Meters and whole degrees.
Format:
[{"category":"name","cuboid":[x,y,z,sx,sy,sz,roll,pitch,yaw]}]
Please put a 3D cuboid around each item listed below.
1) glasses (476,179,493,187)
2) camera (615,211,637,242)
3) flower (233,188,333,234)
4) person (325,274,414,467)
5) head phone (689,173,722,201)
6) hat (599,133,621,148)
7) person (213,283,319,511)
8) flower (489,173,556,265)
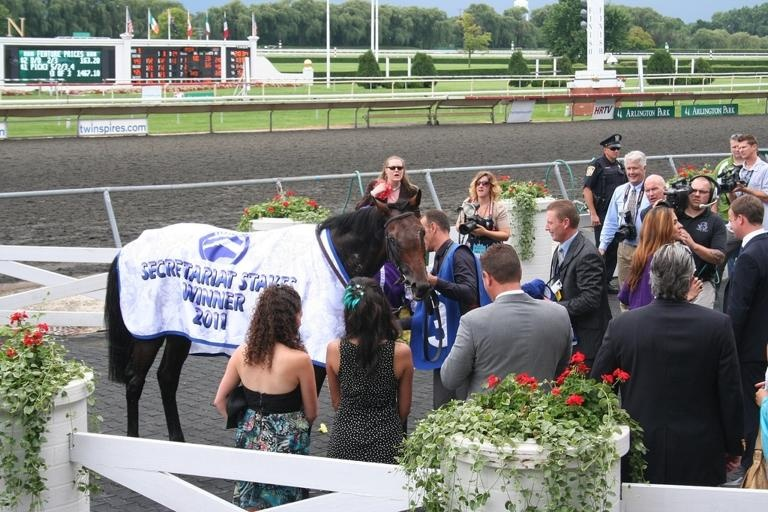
[{"category":"glasses","cuboid":[1.049,-0.773,12.006,0.135,0.059,0.037,-1,11,3]},{"category":"camera","cuboid":[2.444,-0.290,11.491,0.206,0.353,0.307,1,7,40]},{"category":"flower","cuboid":[-1.041,-0.534,13.030,0.864,0.371,0.918,10,-2,18]},{"category":"person","cuboid":[-0.122,0.886,8.721,0.661,1.366,0.455,-2,12,0]},{"category":"head phone","cuboid":[3.073,-0.649,10.897,0.376,0.295,0.141,6,5,16]},{"category":"hat","cuboid":[2.640,-1.328,13.306,0.302,0.164,0.306,1,0,-23]},{"category":"person","cuboid":[-0.916,0.884,8.702,0.741,1.257,0.422,-4,12,-10]},{"category":"flower","cuboid":[1.641,-0.386,13.690,0.836,0.878,0.794,-6,-5,20]}]
